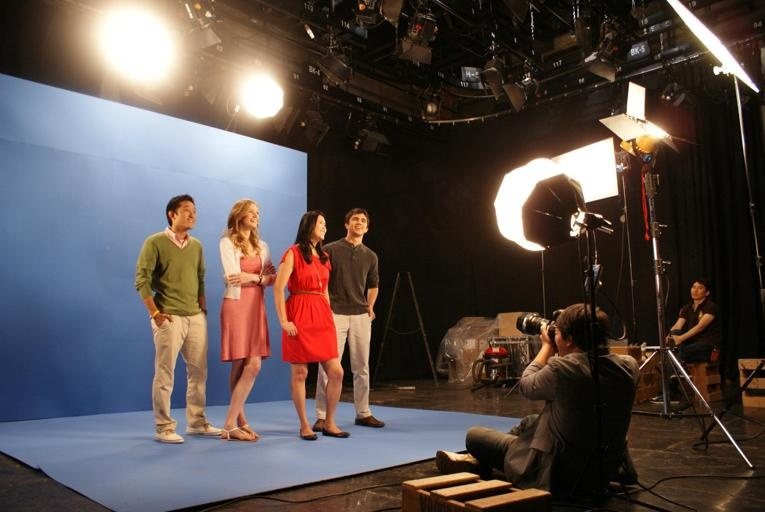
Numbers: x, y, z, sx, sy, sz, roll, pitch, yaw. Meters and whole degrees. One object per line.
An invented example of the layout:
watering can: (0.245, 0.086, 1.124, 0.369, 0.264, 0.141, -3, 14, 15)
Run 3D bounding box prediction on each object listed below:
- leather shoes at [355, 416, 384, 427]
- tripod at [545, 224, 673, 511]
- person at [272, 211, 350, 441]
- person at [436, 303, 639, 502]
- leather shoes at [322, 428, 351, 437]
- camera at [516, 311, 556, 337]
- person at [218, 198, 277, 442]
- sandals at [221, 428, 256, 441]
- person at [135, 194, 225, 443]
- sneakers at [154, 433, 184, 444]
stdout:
leather shoes: (-0.149, 1.726, 6.219, 0.299, 0.128, 0.116, -4, -8, 18)
tripod: (1.550, 0.830, 4.303, 0.578, 2.220, 0.855, -4, -3, 36)
person: (-0.726, 0.642, 5.684, 0.670, 2.180, 0.240, 3, -7, -15)
person: (1.308, 1.198, 4.959, 0.834, 1.455, 1.716, 12, -11, -29)
leather shoes: (-0.463, 1.712, 5.731, 0.211, 0.060, 0.100, -4, -9, 20)
camera: (1.165, 0.501, 4.571, 0.148, 0.159, 0.326, 5, 6, -33)
person: (-1.345, 0.592, 5.742, 0.526, 2.311, 0.307, 3, -7, -16)
sandals: (-1.375, 1.696, 5.585, 0.272, 0.106, 0.135, 1, -8, -5)
person: (-2.003, 0.742, 5.709, 0.797, 2.028, 0.352, 4, -8, -28)
sneakers: (-2.023, 1.688, 5.542, 0.268, 0.114, 0.104, -3, -8, 17)
